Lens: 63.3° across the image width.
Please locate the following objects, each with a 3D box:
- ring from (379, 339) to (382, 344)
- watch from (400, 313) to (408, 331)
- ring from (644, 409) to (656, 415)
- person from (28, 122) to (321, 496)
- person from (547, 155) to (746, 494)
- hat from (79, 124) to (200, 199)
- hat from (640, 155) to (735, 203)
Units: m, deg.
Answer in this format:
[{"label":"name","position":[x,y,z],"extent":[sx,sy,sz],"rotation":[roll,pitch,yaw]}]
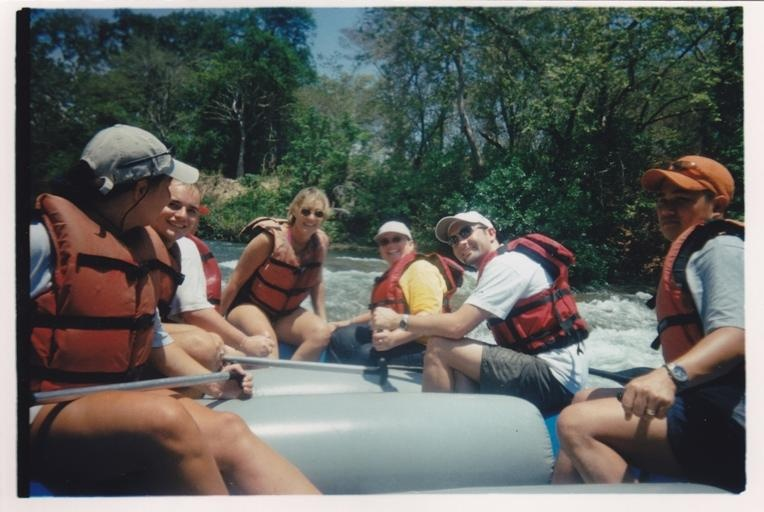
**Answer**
[{"label":"ring","position":[-0.012,0.569,4.112],"extent":[0.023,0.022,0.023],"rotation":[1,2,0]},{"label":"watch","position":[0.142,0.422,3.969],"extent":[0.057,0.084,0.078],"rotation":[3,3,8]},{"label":"ring","position":[1.336,0.779,3.077],"extent":[0.037,0.025,0.036],"rotation":[6,-9,1]},{"label":"person","position":[-1.172,0.325,3.165],"extent":[1.231,1.907,0.610],"rotation":[7,0,-7]},{"label":"person","position":[1.551,0.370,3.339],"extent":[0.941,1.753,0.641],"rotation":[7,0,18]},{"label":"hat","position":[-1.254,-0.519,3.198],"extent":[0.486,0.265,0.323],"rotation":[-12,35,-37]},{"label":"hat","position":[1.772,-0.442,3.628],"extent":[0.462,0.235,0.299],"rotation":[25,2,-2]}]
